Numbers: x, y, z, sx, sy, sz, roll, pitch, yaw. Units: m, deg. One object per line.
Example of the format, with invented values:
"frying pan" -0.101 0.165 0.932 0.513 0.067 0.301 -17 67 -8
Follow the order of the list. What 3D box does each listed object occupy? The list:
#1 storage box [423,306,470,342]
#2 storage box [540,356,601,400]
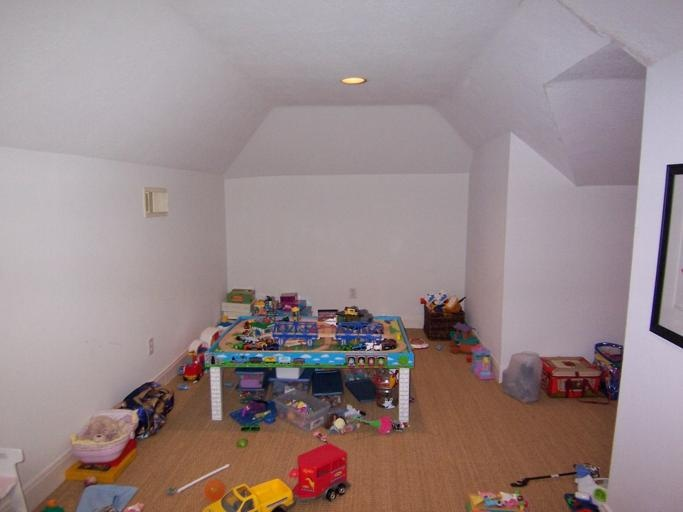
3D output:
"storage box" 1.281 0.837 6.585 0.417 0.305 0.409 0 4 4
"storage box" 2.225 1.186 5.077 0.385 0.232 0.389 -1 6 -5
